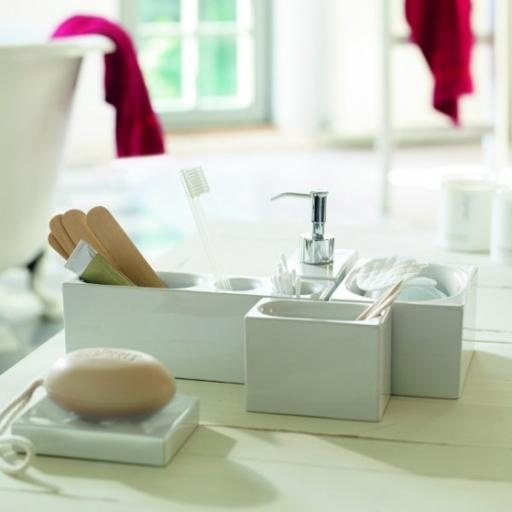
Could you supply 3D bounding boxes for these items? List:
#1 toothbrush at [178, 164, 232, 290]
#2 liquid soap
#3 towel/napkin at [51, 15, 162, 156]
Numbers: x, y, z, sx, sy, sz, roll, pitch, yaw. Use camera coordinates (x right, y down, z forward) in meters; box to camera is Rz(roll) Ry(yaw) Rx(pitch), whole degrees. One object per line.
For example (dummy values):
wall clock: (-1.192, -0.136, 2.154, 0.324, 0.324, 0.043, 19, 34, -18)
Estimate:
toothbrush: (-0.040, -0.030, 0.638, 0.059, 0.116, 0.049, -9, 22, -23)
liquid soap: (0.053, -0.024, 0.649, 0.055, 0.078, 0.056, -11, 21, -42)
towel/napkin: (-0.353, -0.397, 1.499, 0.245, 0.329, 0.115, 14, 30, 43)
